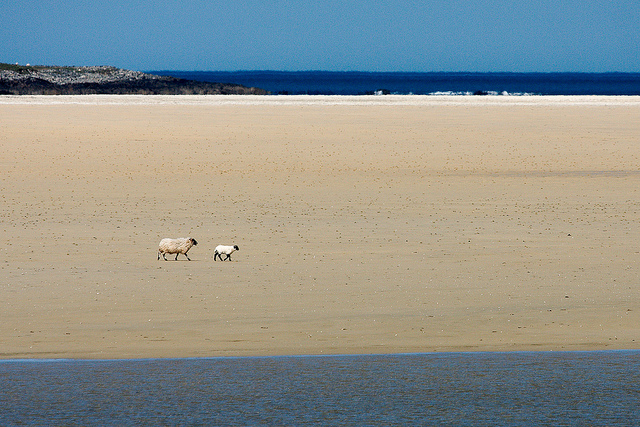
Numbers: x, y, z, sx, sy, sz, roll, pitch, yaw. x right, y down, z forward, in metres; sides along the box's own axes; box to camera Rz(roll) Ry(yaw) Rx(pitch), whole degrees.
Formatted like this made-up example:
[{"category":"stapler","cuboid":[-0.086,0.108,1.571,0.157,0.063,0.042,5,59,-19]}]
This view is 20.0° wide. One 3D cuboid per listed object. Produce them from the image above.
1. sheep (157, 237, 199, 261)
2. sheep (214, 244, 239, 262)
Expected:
[{"category":"sheep","cuboid":[-6.746,1.794,87.954,1.812,1.017,0.938,1,15,-1]},{"category":"sheep","cuboid":[-4.392,2.007,87.834,1.092,0.713,0.556,-1,15,-6]}]
